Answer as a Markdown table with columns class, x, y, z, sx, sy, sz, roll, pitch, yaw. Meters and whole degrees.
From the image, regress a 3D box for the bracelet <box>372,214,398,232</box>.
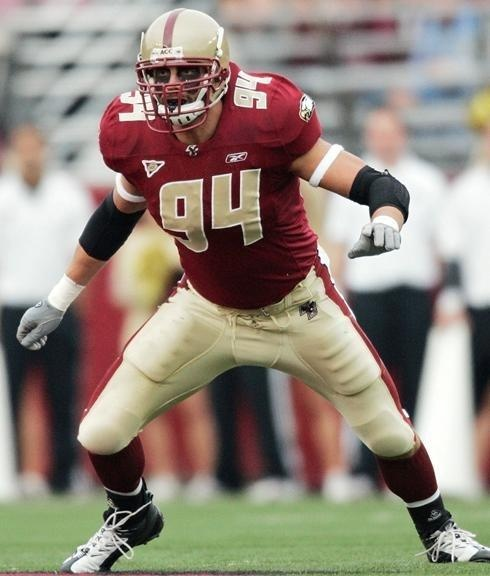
| class | x | y | z | sx | sy | sz | roll | pitch | yaw |
| --- | --- | --- | --- | --- | --- | --- | --- | --- | --- |
| bracelet | 0.320 | -0.156 | 1.742 | 0.050 | 0.028 | 0.044 | 3 | 16 | -10 |

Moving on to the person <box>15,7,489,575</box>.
| class | x | y | z | sx | sy | sz | roll | pitch | yaw |
| --- | --- | --- | --- | --- | --- | --- | --- | --- | --- |
| person | -0.010 | 0.108 | 2.114 | 1.108 | 1.671 | 0.728 | -8 | 26 | -3 |
